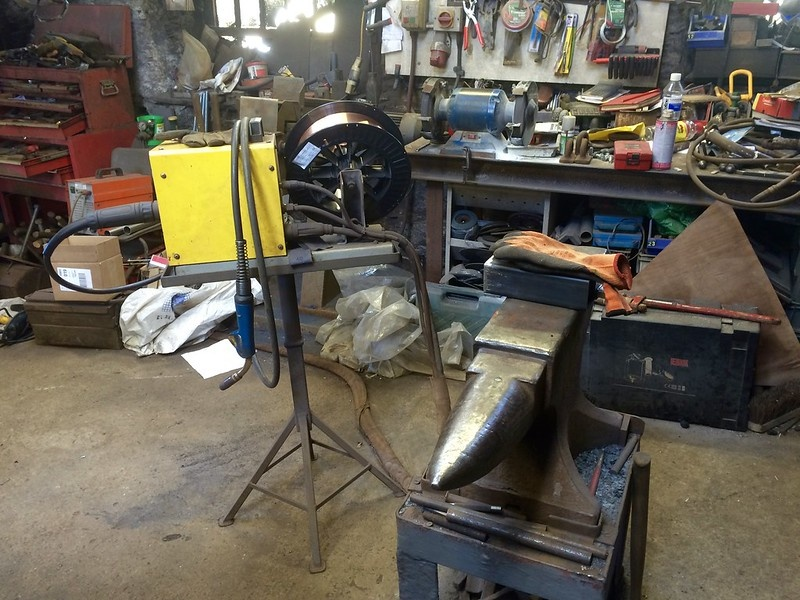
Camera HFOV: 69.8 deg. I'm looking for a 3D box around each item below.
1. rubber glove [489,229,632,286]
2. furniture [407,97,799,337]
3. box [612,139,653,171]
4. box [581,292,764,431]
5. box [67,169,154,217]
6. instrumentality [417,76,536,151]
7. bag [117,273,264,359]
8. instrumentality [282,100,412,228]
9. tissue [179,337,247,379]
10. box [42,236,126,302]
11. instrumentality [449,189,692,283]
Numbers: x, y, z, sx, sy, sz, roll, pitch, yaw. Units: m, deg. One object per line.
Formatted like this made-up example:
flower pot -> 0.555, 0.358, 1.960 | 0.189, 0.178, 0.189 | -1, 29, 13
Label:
rubber glove -> 0.495, -0.129, 1.751 | 0.345, 0.116, 0.227 | 10, 8, 1
furniture -> 1.130, -0.204, 3.874 | 2.128, 1.496, 1.138 | 11, 29, 23
box -> 1.221, -0.797, 3.019 | 0.164, 0.101, 0.170 | 4, 39, 8
box -> 1.322, 0.258, 2.889 | 0.787, 0.552, 0.431 | 5, 27, 27
box -> -1.999, -0.643, 3.798 | 0.327, 0.167, 0.332 | 12, 6, 16
instrumentality -> 0.457, -1.120, 3.422 | 0.619, 0.383, 0.417 | 11, 26, 19
bag -> -1.235, 0.154, 3.567 | 0.576, 0.285, 0.767 | 10, 29, 42
instrumentality -> -0.189, -0.483, 2.082 | 0.445, 0.435, 0.290 | -3, 23, -11
tissue -> -1.075, 0.343, 3.317 | 0.313, 0.015, 0.337 | -20, 39, -31
box -> -1.882, -0.201, 3.469 | 0.431, 0.326, 0.420 | -14, 22, -42
instrumentality -> 0.876, -0.328, 2.808 | 0.942, 0.298, 0.914 | 5, -18, 7
